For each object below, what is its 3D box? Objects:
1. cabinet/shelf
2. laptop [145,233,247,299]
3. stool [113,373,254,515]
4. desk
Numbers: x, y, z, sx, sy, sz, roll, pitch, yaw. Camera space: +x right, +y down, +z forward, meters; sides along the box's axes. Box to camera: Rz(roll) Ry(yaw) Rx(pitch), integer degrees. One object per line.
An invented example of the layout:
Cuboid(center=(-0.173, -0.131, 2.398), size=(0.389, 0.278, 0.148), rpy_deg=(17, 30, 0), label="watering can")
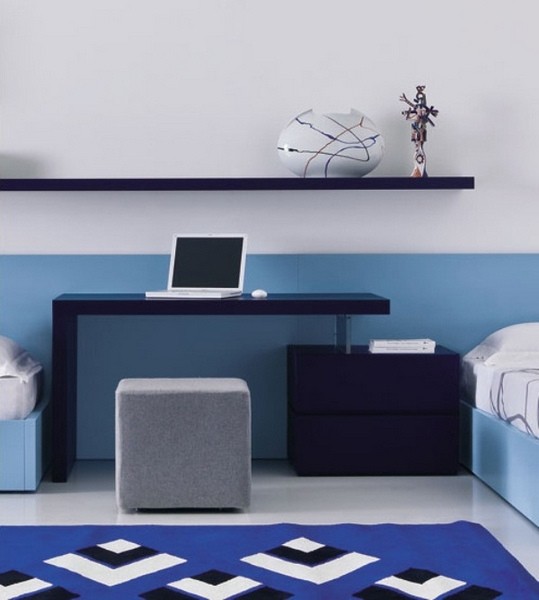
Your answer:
Cuboid(center=(0.420, 0.457, 2.595), size=(0.497, 0.429, 0.532), rpy_deg=(0, -2, -1), label="cabinet/shelf")
Cuboid(center=(-0.299, -0.151, 2.708), size=(0.316, 0.260, 0.300), rpy_deg=(1, 2, 10), label="laptop")
Cuboid(center=(-0.298, 0.493, 2.340), size=(0.376, 0.415, 0.410), rpy_deg=(1, 0, -2), label="stool")
Cuboid(center=(-0.195, 0.414, 2.902), size=(1.452, 0.940, 0.581), rpy_deg=(4, 8, -14), label="desk")
